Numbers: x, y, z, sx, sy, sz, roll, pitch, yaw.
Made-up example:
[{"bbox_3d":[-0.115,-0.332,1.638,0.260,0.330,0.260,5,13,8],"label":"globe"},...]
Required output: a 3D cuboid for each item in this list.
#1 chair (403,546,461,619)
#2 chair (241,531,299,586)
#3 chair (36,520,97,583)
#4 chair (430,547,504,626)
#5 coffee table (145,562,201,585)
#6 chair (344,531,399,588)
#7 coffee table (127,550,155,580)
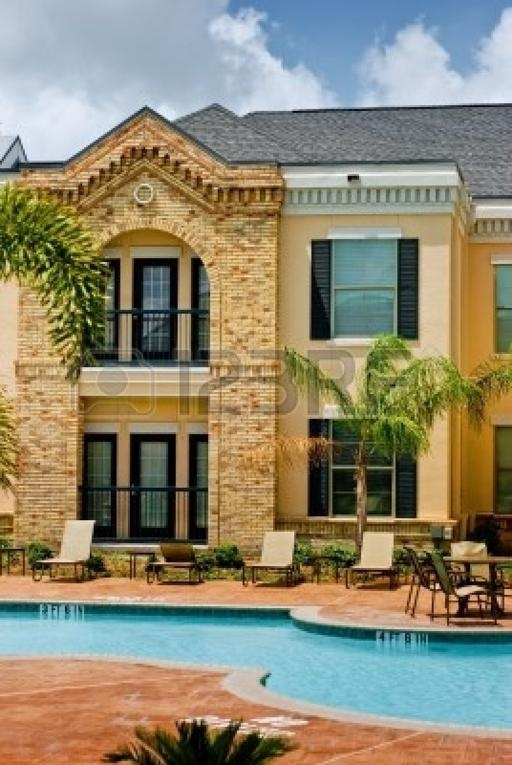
[{"bbox_3d":[2.414,2.773,22.093,0.734,1.323,0.802,0,-5,4],"label":"chair"},{"bbox_3d":[0.266,2.704,25.143,0.607,1.038,0.947,1,-5,7],"label":"chair"},{"bbox_3d":[-3.061,2.698,25.848,0.584,1.039,1.184,0,-4,12],"label":"chair"},{"bbox_3d":[2.822,2.796,21.653,0.922,0.906,2.687,-1,-8,8],"label":"chair"},{"bbox_3d":[-1.328,3.077,25.654,0.911,0.347,1.809,0,-8,-4],"label":"coffee table"},{"bbox_3d":[1.796,2.669,24.633,0.511,0.748,0.987,-1,-8,9],"label":"chair"},{"bbox_3d":[-1.920,3.004,26.493,0.324,0.403,0.374,0,-10,-4],"label":"coffee table"}]
